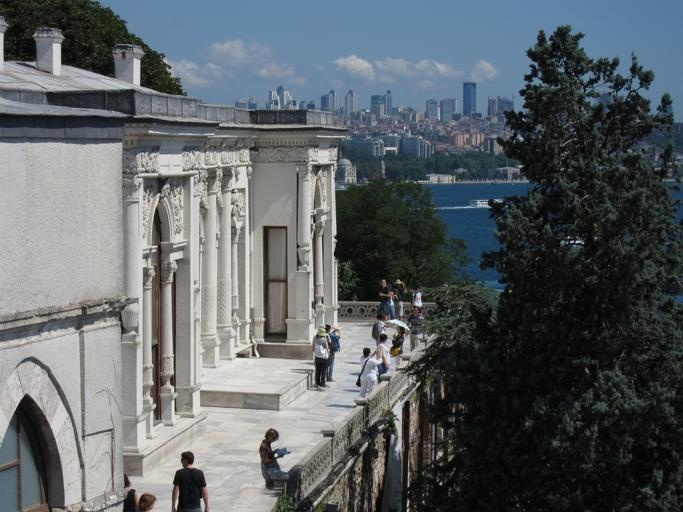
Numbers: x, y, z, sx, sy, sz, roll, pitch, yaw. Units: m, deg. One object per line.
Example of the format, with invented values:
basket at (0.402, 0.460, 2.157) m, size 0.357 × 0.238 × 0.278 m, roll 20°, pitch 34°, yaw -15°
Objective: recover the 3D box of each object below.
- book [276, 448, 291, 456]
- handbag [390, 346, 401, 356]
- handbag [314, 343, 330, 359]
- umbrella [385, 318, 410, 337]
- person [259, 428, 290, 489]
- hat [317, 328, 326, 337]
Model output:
book at (-1.059, 3.543, 25.728) m, size 0.273 × 0.262 × 0.233 m, roll 2°, pitch -11°, yaw -4°
handbag at (1.260, 2.272, 33.675) m, size 0.212 × 0.160 × 0.210 m, roll -23°, pitch 1°, yaw -38°
handbag at (-0.466, 2.185, 32.853) m, size 0.370 × 0.364 × 0.361 m, roll 0°, pitch 5°, yaw -7°
umbrella at (1.440, 1.620, 34.465) m, size 0.547 × 0.208 × 0.559 m, roll 28°, pitch -13°, yaw -13°
person at (-1.247, 3.691, 25.897) m, size 0.488 × 1.149 × 0.681 m, roll 1°, pitch 5°, yaw -2°
hat at (-0.468, 1.738, 32.514) m, size 0.169 × 0.192 × 0.172 m, roll 1°, pitch -11°, yaw 7°
